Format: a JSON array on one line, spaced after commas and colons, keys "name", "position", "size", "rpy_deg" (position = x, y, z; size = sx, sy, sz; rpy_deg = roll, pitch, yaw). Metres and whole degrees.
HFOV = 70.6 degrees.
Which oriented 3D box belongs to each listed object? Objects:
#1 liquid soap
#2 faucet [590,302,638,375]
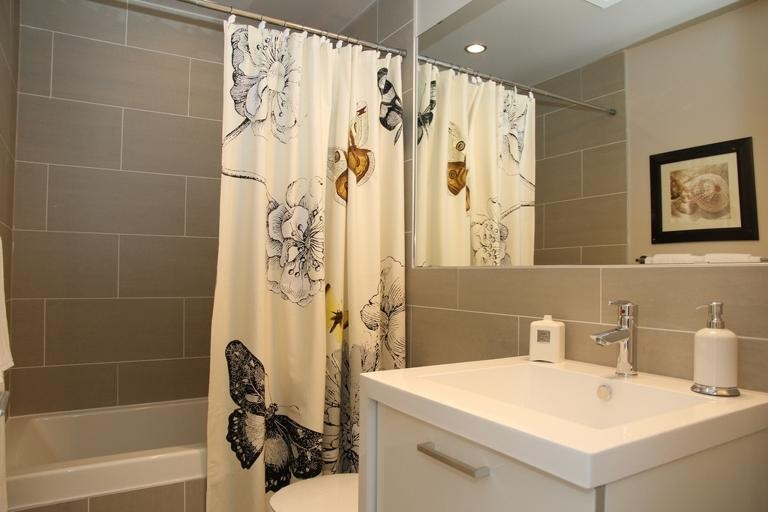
[{"name": "liquid soap", "position": [1.011, 0.280, 1.636], "size": [0.136, 0.273, 0.132], "rpy_deg": [-1, 2, -34]}, {"name": "faucet", "position": [0.769, 0.276, 1.778], "size": [0.167, 0.249, 0.071], "rpy_deg": [-4, 5, -21]}]
